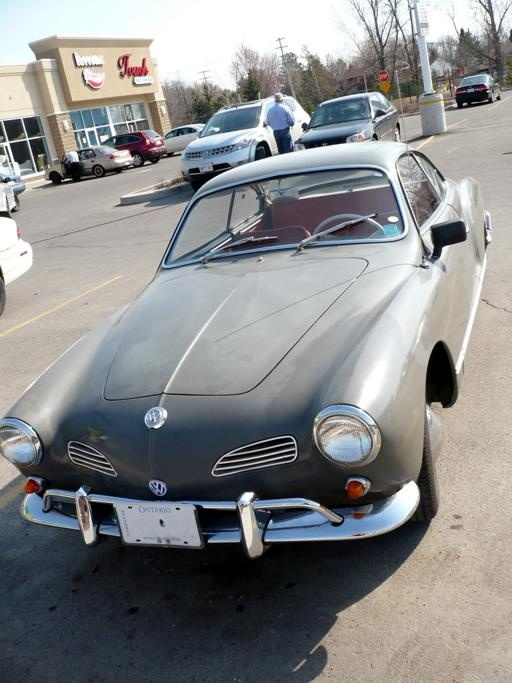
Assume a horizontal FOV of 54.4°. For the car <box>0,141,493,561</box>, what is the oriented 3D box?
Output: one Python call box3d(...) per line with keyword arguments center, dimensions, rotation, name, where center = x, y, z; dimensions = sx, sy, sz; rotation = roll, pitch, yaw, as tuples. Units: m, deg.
box3d(center=(0.476, -0.321, 3.137), dimensions=(1.614, 1.144, 3.631), rotation=(-4, 22, 27), name="car")
